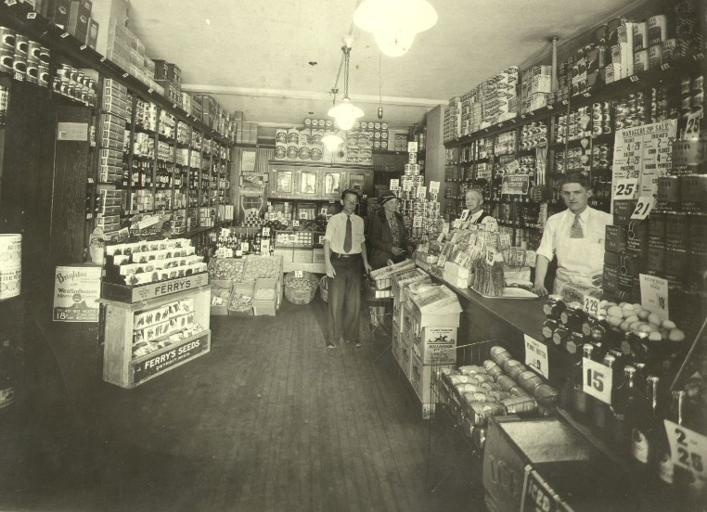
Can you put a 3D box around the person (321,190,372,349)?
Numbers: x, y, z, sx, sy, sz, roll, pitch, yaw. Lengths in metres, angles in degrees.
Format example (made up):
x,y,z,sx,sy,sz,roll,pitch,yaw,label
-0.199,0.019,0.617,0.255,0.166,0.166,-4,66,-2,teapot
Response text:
x,y,z,sx,sy,sz,roll,pitch,yaw,label
-0.107,0.143,6.741,0.436,1.748,0.676,0,9,-2,person

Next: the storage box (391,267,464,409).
x,y,z,sx,sy,sz,roll,pitch,yaw,label
0.676,0.745,5.283,0.429,1.050,1.229,1,3,0,storage box

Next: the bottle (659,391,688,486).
x,y,z,sx,sy,sz,roll,pitch,yaw,label
1.880,1.062,3.459,0.140,0.545,0.112,5,10,27,bottle

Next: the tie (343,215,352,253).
x,y,z,sx,sy,sz,roll,pitch,yaw,label
-0.070,-0.240,6.761,0.094,0.388,0.155,1,9,1,tie

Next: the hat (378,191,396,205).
x,y,z,sx,sy,sz,roll,pitch,yaw,label
0.418,-0.716,7.332,0.175,0.079,0.198,-8,-1,-28,hat

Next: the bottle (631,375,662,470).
x,y,z,sx,sy,sz,roll,pitch,yaw,label
1.759,0.984,3.551,0.154,0.536,0.081,5,10,26,bottle
